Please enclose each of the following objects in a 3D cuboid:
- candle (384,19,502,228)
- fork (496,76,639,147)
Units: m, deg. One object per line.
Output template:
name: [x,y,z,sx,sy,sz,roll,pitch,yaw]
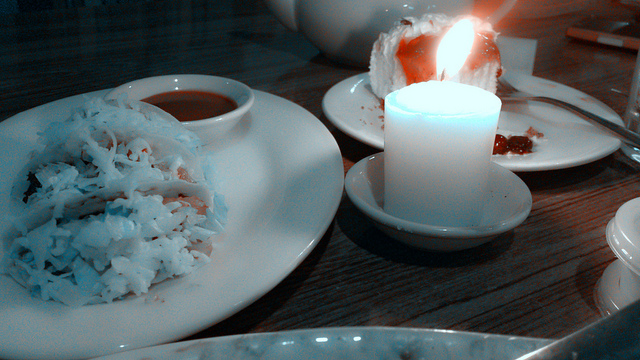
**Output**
candle: [0.184,-0.041,0.720,0.182,0.157,0.179,7,49,5]
fork: [0.503,-0.136,0.936,0.057,0.036,0.388,-47,27,5]
